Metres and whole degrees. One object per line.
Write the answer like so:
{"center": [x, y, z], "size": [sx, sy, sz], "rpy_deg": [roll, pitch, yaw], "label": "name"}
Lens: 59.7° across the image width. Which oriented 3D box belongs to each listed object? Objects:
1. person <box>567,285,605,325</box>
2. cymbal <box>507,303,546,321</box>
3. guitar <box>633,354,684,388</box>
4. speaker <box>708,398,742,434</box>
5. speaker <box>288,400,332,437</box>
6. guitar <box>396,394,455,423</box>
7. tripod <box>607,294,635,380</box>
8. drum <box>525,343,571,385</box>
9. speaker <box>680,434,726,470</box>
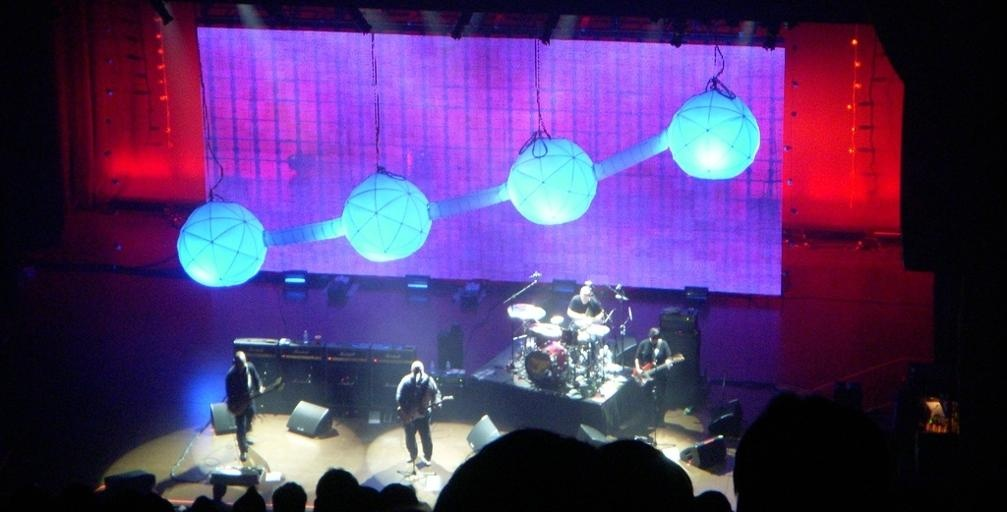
{"center": [1.571, 1.043, 16.821], "size": [0.753, 0.719, 1.026], "rpy_deg": [-1, -45, 5], "label": "person"}
{"center": [0.459, 1.054, 16.444], "size": [0.602, 0.303, 0.874], "rpy_deg": [0, -12, 7], "label": "cymbal"}
{"center": [2.970, 2.131, 16.548], "size": [0.969, 0.601, 0.552], "rpy_deg": [9, -14, -31], "label": "guitar"}
{"center": [4.075, 2.972, 16.120], "size": [0.683, 0.568, 0.646], "rpy_deg": [4, 8, 3], "label": "speaker"}
{"center": [-3.577, 3.033, 16.350], "size": [0.689, 0.439, 0.675], "rpy_deg": [10, 16, 25], "label": "speaker"}
{"center": [-1.452, 2.677, 15.698], "size": [0.715, 0.251, 0.474], "rpy_deg": [-7, 8, -12], "label": "guitar"}
{"center": [2.373, 1.453, 17.495], "size": [0.507, 1.593, 1.153], "rpy_deg": [1, -13, 6], "label": "tripod"}
{"center": [0.842, 2.004, 16.397], "size": [0.769, 0.700, 0.890], "rpy_deg": [4, -2, 15], "label": "drum"}
{"center": [3.510, 3.382, 15.246], "size": [0.772, 0.469, 0.575], "rpy_deg": [-16, 34, -28], "label": "speaker"}
